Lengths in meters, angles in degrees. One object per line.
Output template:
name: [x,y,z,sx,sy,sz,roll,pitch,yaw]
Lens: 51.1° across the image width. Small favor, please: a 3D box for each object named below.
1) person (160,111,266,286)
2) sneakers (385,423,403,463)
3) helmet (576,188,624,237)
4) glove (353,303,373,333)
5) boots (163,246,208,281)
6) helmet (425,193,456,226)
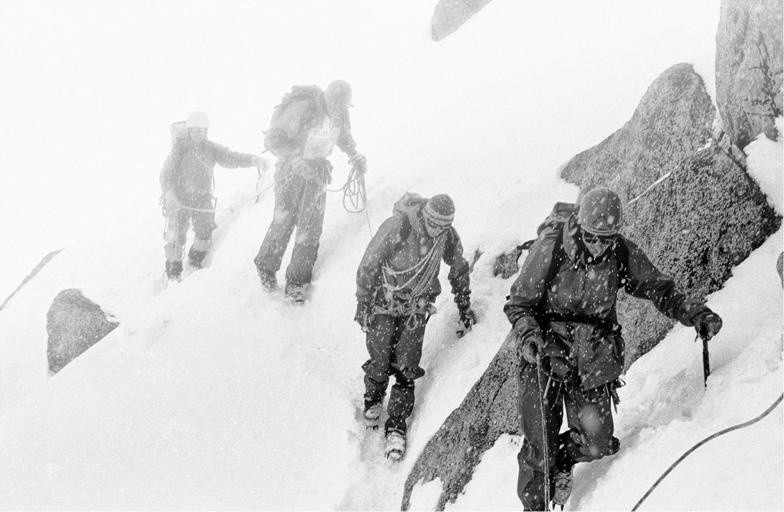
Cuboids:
person: [-3.169,-1.353,13.357,1.448,0.807,2.166,14,44,5]
sneakers: [0.043,2.451,10.623,0.252,0.434,0.164,4,-10,-7]
helmet: [2.202,-0.528,8.649,0.366,0.449,0.539,4,51,11]
glove: [-0.350,0.812,10.480,0.127,0.369,0.251,-5,13,-38]
boots: [-3.367,0.041,13.413,0.749,0.478,0.540,-15,17,-8]
helmet: [0.618,-0.615,10.141,0.351,0.308,0.376,10,49,-20]
